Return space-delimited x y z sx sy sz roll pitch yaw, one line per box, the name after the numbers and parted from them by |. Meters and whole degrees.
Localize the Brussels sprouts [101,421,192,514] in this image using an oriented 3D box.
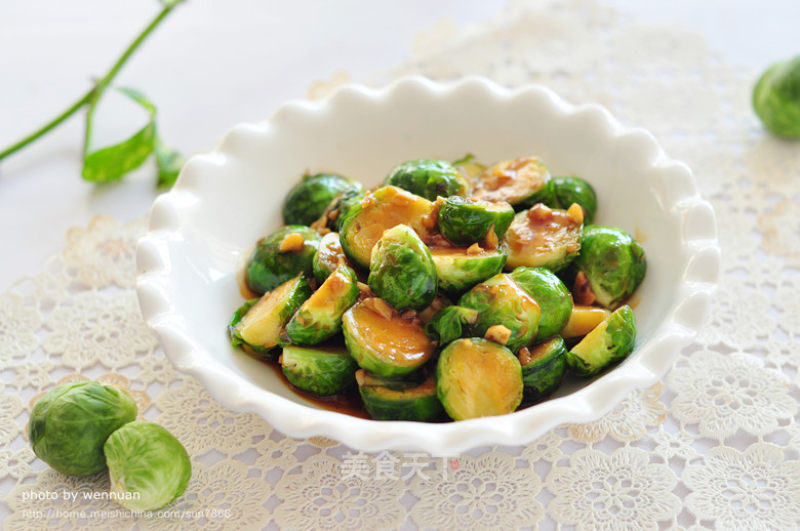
-0.814 0.647 2.534 0.252 0.222 0.281 -14 46 -25 | Brussels sprouts
